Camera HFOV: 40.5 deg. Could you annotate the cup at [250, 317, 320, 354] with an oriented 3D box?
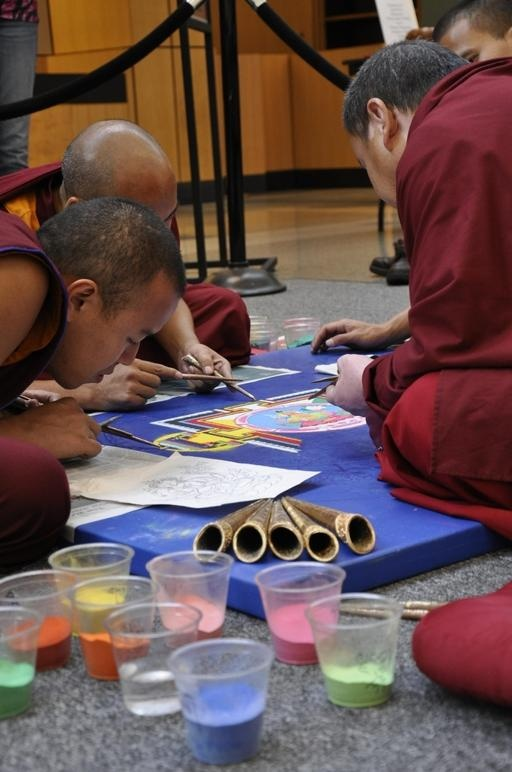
[{"bbox_3d":[0.129,-0.220,3.204,0.283,0.091,0.192,0,18,13],"label":"cup"}]
